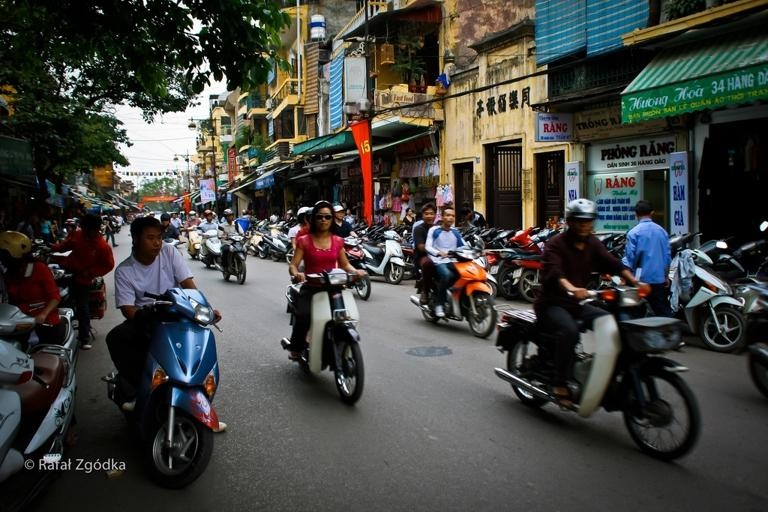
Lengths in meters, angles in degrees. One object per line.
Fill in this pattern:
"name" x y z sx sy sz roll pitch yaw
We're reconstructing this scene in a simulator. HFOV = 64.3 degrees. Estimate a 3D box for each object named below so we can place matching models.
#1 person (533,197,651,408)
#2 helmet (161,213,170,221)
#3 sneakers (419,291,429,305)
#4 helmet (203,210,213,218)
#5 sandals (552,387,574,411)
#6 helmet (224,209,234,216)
"person" 2.001 0.468 6.357 1.019 2.137 1.088 -7 8 -31
"helmet" -5.820 -1.041 16.159 0.178 0.234 0.240 0 14 1
"sneakers" 0.697 0.731 10.610 0.174 0.196 0.182 -1 4 -8
"helmet" -5.999 -1.468 20.880 0.325 0.180 0.475 -5 4 -18
"sandals" 1.819 1.438 6.219 0.106 0.131 0.320 -3 5 -28
"helmet" -4.747 -1.349 18.631 0.256 0.218 0.212 1 18 -7
